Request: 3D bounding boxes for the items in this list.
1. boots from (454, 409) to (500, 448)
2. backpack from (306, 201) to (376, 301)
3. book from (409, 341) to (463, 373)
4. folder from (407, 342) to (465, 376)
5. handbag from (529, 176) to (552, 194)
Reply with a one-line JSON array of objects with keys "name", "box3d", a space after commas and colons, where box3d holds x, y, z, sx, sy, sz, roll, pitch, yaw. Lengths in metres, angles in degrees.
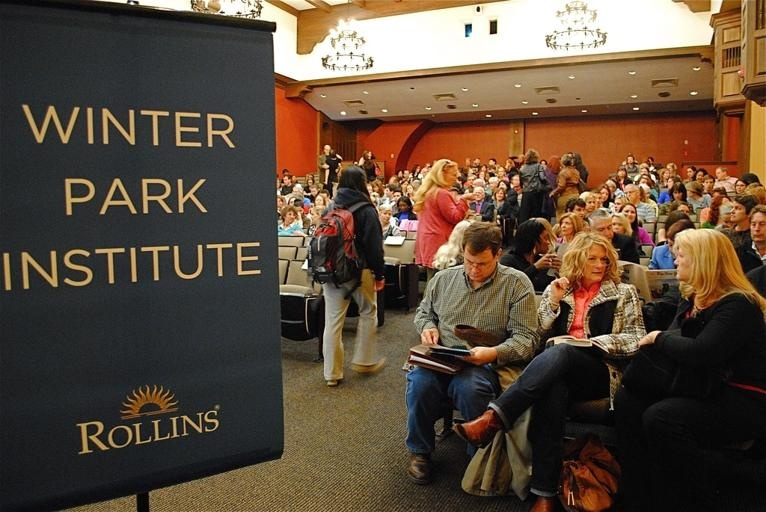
[{"name": "boots", "box3d": [0.478, 0.852, 2.857, 0.286, 0.198, 0.103, 25, -7, -34]}, {"name": "backpack", "box3d": [-0.337, -0.060, 4.469, 0.427, 0.683, 0.445, 3, -8, -6]}, {"name": "book", "box3d": [0.273, 0.569, 3.083, 0.188, 0.050, 0.189, 11, 5, 15]}, {"name": "folder", "box3d": [0.283, 0.567, 3.091, 0.202, 0.054, 0.205, 10, 3, 33]}, {"name": "handbag", "box3d": [2.594, -1.199, 9.362, 0.420, 0.398, 0.222, 0, -3, 3]}]
